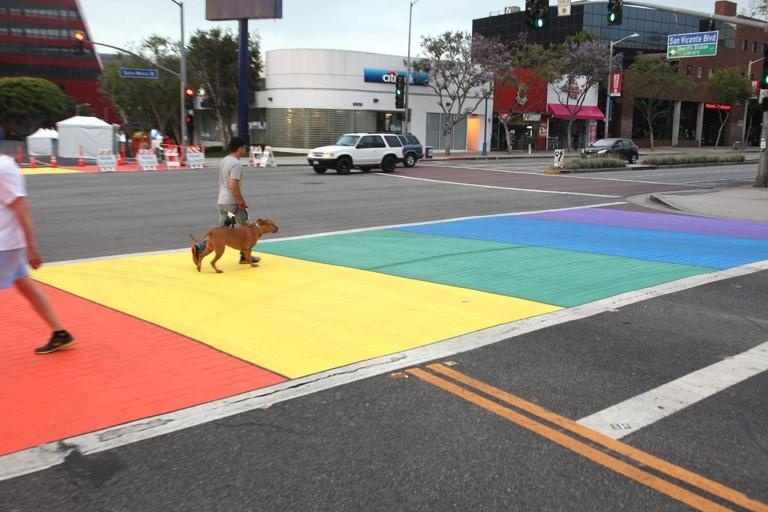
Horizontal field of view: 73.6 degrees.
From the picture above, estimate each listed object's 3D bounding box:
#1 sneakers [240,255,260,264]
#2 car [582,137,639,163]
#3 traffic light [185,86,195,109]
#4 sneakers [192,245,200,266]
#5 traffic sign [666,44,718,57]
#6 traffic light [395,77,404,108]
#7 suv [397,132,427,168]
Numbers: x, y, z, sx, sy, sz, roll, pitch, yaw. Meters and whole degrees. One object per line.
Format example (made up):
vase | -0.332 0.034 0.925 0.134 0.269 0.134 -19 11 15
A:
sneakers | -2.513 0.083 9.647 0.418 0.180 0.152 -3 16 -13
car | 18.207 -8.267 40.475 6.064 1.852 2.767 -11 18 -39
traffic light | -12.499 -10.065 32.773 0.498 1.275 0.979 -6 15 -24
sneakers | -3.289 -0.018 8.964 0.113 0.348 0.133 -6 15 -24
traffic sign | 14.970 -9.995 24.923 1.807 0.506 1.585 5 15 18
traffic light | 1.303 -12.886 40.213 0.440 2.365 0.824 5 15 20
suv | 2.022 -7.045 34.096 2.457 1.222 1.373 0 6 -25
